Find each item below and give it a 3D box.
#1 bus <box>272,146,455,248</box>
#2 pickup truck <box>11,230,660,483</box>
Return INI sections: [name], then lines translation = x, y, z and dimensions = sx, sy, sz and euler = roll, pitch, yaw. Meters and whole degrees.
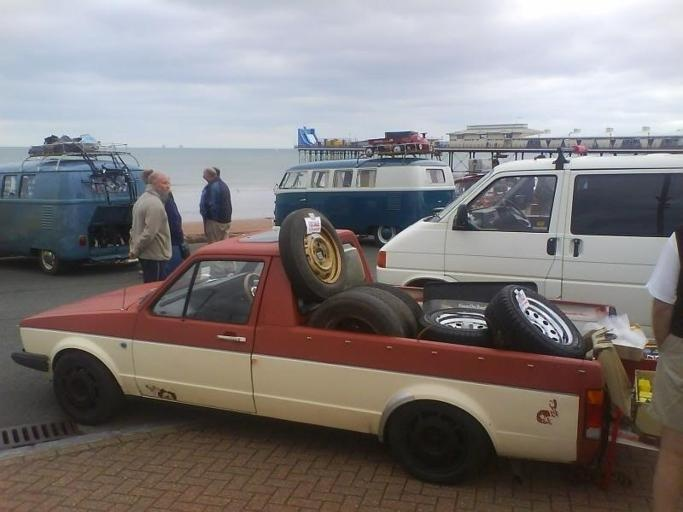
[bus]
translation = 0.872, -1.977, 17.446
dimensions = 5.935, 2.733, 2.742
euler = 4, 8, 26
[pickup truck]
translation = -0.456, 0.875, 4.426
dimensions = 4.796, 1.760, 0.736
euler = 4, 13, 23
